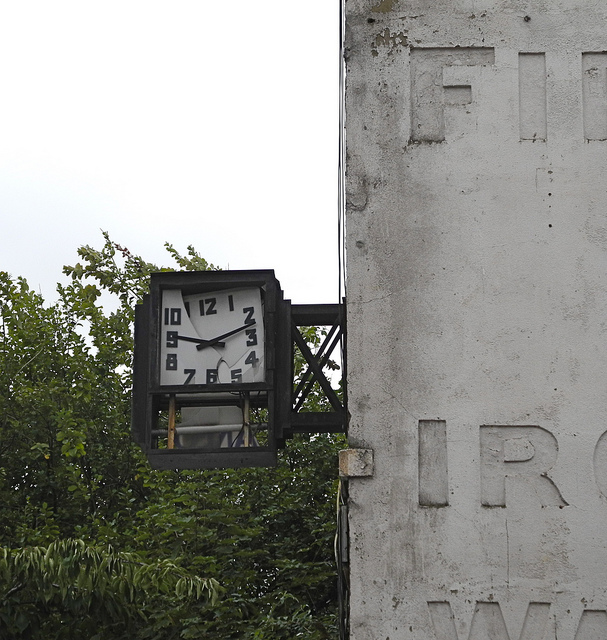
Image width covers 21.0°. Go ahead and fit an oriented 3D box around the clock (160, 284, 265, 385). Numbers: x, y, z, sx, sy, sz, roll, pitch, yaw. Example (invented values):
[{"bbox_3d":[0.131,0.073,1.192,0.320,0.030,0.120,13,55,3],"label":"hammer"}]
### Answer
[{"bbox_3d":[-0.827,0.172,15.111,0.887,0.896,0.068,-1,-20,3],"label":"clock"}]
